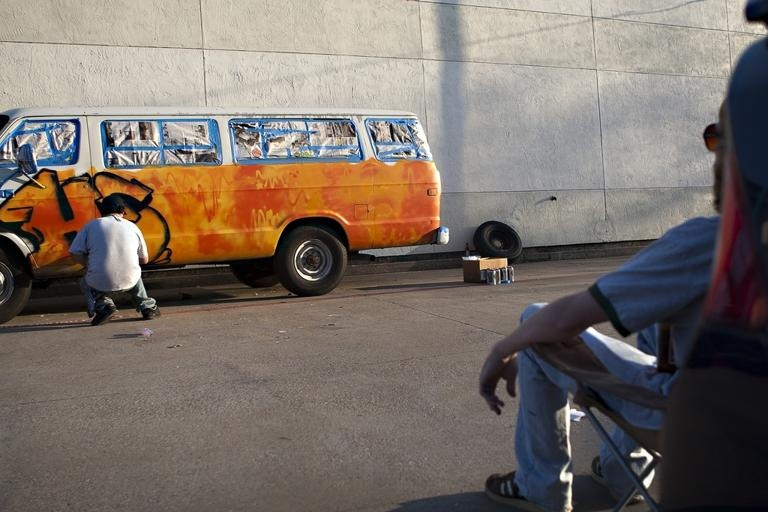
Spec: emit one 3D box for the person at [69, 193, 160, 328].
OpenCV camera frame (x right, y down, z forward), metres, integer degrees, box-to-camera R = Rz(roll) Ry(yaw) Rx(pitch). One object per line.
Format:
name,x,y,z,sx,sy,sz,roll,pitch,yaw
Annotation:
person,-3.304,0.159,7.633,0.927,1.289,0.341,-4,7,-26

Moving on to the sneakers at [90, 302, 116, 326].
sneakers,-3.394,0.685,7.583,0.423,0.158,0.184,-21,-48,37

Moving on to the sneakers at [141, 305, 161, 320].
sneakers,-2.965,0.685,7.912,0.264,0.181,0.121,-13,18,-43

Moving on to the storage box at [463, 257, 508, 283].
storage box,1.635,0.179,10.323,0.491,0.305,0.498,-3,7,-11
